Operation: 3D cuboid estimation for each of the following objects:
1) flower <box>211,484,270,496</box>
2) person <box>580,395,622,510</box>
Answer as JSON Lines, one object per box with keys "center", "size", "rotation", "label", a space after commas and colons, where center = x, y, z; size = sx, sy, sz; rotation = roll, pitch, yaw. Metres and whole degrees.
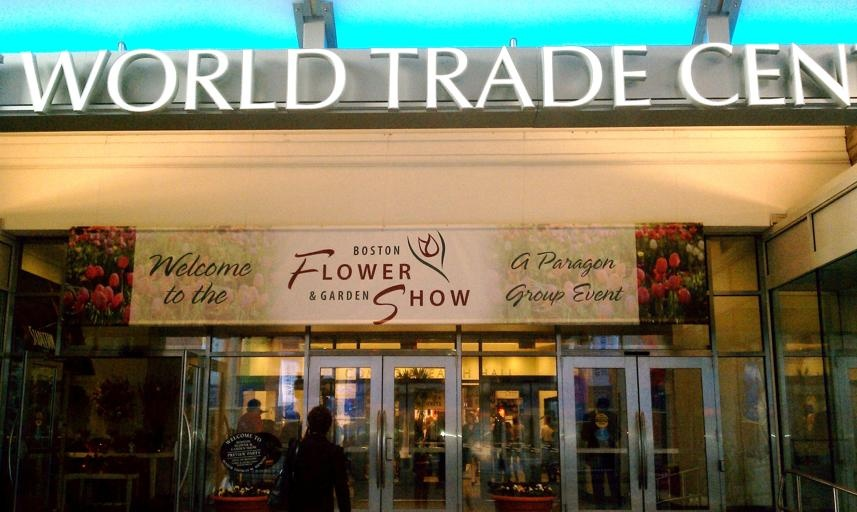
{"center": [-3.589, 4.544, 16.345], "size": [0.834, 0.186, 0.818], "rotation": [0, -8, -8], "label": "flower"}
{"center": [3.355, 3.843, 16.574], "size": [0.691, 2.101, 0.322], "rotation": [-4, -17, 11], "label": "person"}
